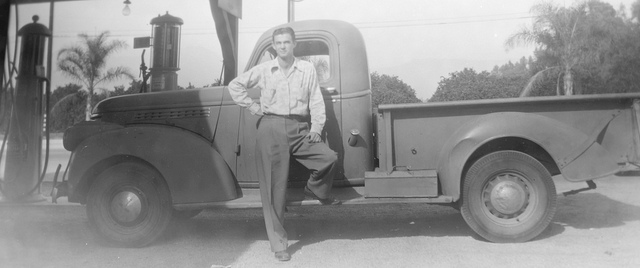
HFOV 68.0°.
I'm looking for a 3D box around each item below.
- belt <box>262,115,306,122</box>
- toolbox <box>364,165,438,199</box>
[{"bbox_3d":[-0.958,-0.424,12.634,1.065,0.197,0.162,-3,7,-8],"label":"belt"},{"bbox_3d":[2.193,1.357,12.847,1.919,0.715,0.246,-1,8,5],"label":"toolbox"}]
